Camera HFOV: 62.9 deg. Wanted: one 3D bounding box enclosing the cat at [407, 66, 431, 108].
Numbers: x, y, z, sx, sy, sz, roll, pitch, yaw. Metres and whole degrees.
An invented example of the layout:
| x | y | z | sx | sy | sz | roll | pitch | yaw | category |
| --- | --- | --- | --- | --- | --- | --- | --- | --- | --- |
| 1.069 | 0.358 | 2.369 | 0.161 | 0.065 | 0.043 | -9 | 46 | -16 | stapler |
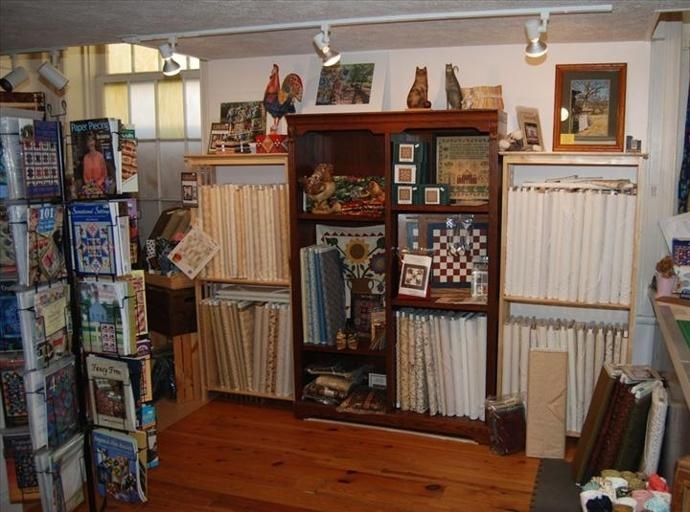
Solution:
| x | y | z | sx | sy | sz | roll | pitch | yaw | category |
| --- | --- | --- | --- | --- | --- | --- | --- | --- | --- |
| 0.558 | -1.245 | 4.202 | 0.181 | 0.338 | 0.252 | 5 | 9 | 31 | cat |

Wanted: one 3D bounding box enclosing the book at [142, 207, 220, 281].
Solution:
| x | y | z | sx | sy | sz | roll | pitch | yaw | category |
| --- | --- | --- | --- | --- | --- | --- | --- | --- | --- |
| -1.452 | -0.065 | 4.952 | 0.196 | 0.661 | 0.712 | 17 | 16 | -45 | book |

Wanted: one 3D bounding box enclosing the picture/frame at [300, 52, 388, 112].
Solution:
| x | y | z | sx | sy | sz | roll | pitch | yaw | category |
| --- | --- | --- | --- | --- | --- | --- | --- | --- | --- |
| 0.025 | -1.378 | 4.509 | 0.626 | 0.464 | 0.029 | 1 | -15 | 14 | picture/frame |

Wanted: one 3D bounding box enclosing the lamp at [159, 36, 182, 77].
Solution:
| x | y | z | sx | sy | sz | roll | pitch | yaw | category |
| --- | --- | --- | --- | --- | --- | --- | --- | --- | --- |
| -1.237 | -1.404 | 3.984 | 0.131 | 0.259 | 0.368 | -2 | 8 | -18 | lamp |

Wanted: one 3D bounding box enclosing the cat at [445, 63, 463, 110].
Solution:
| x | y | z | sx | sy | sz | roll | pitch | yaw | category |
| --- | --- | --- | --- | --- | --- | --- | --- | --- | --- |
| 0.799 | -1.254 | 4.162 | 0.166 | 0.347 | 0.134 | 6 | 9 | 33 | cat |
